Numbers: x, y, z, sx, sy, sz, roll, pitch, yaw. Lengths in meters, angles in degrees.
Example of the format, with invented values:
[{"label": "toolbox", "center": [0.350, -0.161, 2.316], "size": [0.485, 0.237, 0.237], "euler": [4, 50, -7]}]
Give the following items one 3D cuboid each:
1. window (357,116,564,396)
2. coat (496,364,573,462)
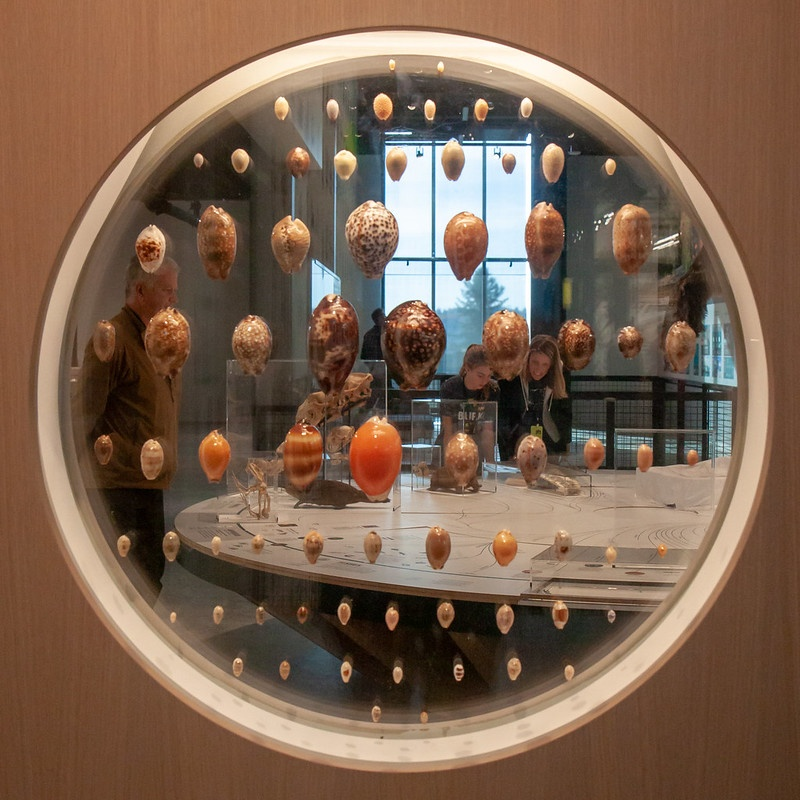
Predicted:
[{"label": "window", "center": [0.097, -0.239, 1.466], "size": [0.242, 0.130, 0.340], "euler": [-1, 67, 5]}, {"label": "coat", "center": [0.227, 0.022, 1.513], "size": [0.068, 0.094, 0.207], "euler": [1, 98, -10]}]
